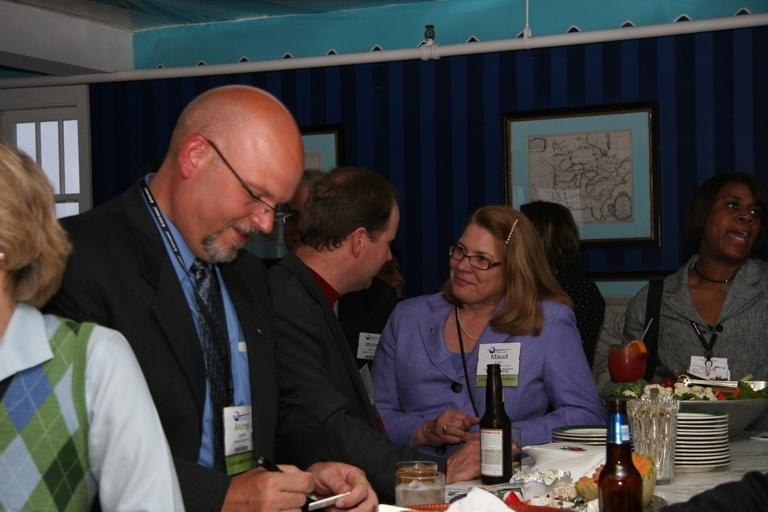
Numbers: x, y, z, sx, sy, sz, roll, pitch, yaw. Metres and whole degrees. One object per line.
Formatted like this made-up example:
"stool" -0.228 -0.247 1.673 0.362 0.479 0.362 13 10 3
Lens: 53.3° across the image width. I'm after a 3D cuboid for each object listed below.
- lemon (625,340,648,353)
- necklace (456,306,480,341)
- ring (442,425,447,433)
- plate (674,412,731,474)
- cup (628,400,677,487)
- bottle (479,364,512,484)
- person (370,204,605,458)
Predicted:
"lemon" 1.217 0.423 3.690 0.072 0.051 0.100 24 -4 -4
"necklace" 0.417 0.347 3.926 0.097 0.141 0.008 -10 -27 -32
"ring" 0.268 0.775 3.430 0.018 0.026 0.009 17 6 16
"plate" 1.289 0.748 3.103 0.259 0.217 0.109 -2 3 -2
"cup" 1.013 0.698 2.903 0.179 0.306 0.188 3 -3 0
"bottle" 0.424 0.637 2.928 0.120 0.453 0.119 -2 3 0
"person" 0.425 0.213 4.085 1.034 1.259 1.281 4 7 7
